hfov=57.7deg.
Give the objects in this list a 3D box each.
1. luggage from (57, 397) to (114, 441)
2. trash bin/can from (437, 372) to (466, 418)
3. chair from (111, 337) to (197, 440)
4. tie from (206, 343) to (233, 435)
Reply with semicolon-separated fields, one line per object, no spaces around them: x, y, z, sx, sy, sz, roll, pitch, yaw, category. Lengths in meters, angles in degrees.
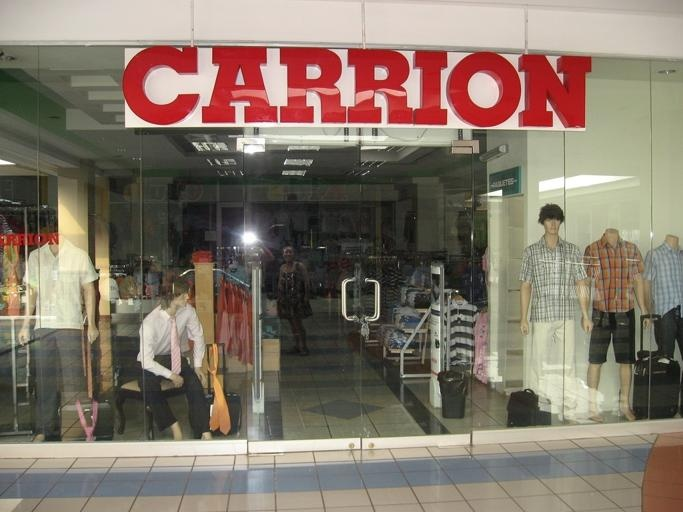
-2.643;1.699;6.261;0.459;0.478;0.118;1;-4;-5;luggage
1.188;1.470;6.613;0.392;0.535;0.417;0;-6;-2;trash bin/can
-1.935;1.485;6.391;0.638;0.973;0.556;8;-12;-42;chair
-1.267;1.379;6.420;0.220;0.916;0.084;-2;0;-6;tie
